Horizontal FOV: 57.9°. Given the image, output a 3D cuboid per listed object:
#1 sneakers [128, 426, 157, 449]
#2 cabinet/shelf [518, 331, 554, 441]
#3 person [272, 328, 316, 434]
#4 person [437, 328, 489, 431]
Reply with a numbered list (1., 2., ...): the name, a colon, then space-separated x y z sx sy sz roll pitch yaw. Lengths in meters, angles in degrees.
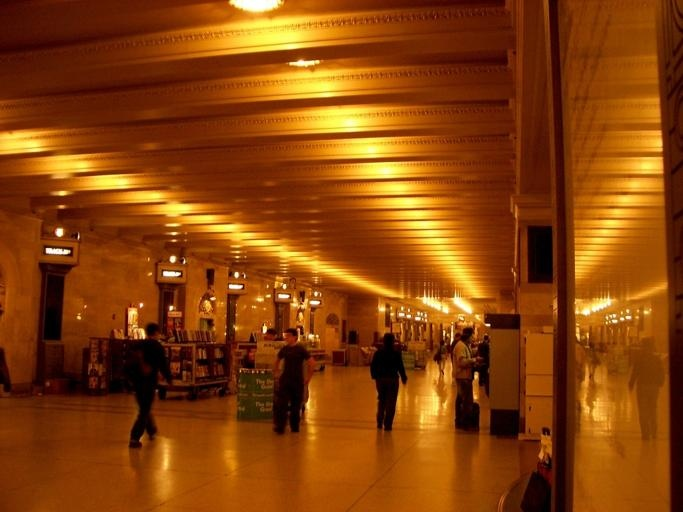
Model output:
1. sneakers: -2.753 2.586 8.528 0.125 0.184 0.391 5 10 21
2. cabinet/shelf: 3.329 2.169 9.890 0.481 1.619 0.839 -6 -18 37
3. person: -0.836 2.164 10.639 0.610 1.747 1.593 2 0 -5
4. person: 2.274 2.266 11.183 0.517 1.834 1.351 2 0 12
